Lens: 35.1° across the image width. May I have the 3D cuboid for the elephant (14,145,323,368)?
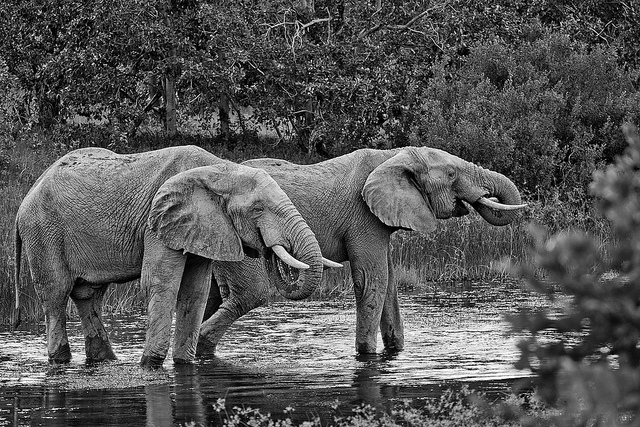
[{"bbox_3d":[-1.668,0.531,10.968,3.468,2.406,1.226,-1,-4,11],"label":"elephant"}]

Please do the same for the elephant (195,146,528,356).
[{"bbox_3d":[0.414,0.520,12.234,3.907,2.408,1.368,-6,8,-3],"label":"elephant"}]
